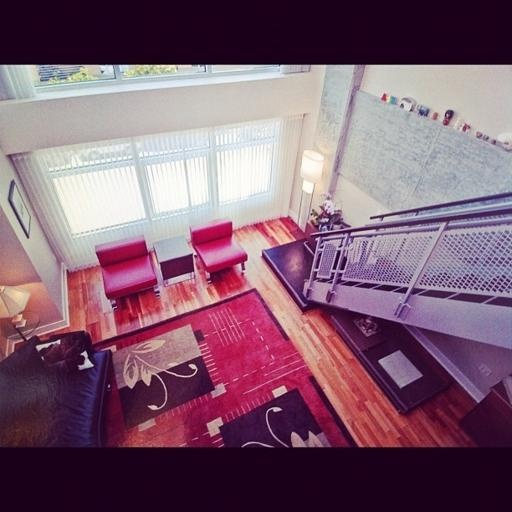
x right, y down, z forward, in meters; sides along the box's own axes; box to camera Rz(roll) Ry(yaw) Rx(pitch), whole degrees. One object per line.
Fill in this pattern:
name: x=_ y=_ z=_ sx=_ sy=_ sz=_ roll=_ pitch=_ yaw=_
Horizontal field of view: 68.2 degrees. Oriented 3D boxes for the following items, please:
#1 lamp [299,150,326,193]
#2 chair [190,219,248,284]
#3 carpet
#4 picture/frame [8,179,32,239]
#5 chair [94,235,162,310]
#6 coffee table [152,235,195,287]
lamp: x=0.958 y=-1.430 z=6.338 sx=0.407 sy=0.724 sz=0.429 roll=-23 pitch=49 yaw=-24
chair: x=-0.663 y=-0.024 z=6.591 sx=0.864 sy=0.837 sz=1.020 roll=-16 pitch=52 yaw=-19
carpet: x=-0.501 y=1.491 z=4.889 sx=2.747 sy=0.328 sz=2.104 roll=-2 pitch=33 yaw=0
picture/frame: x=-2.843 y=-0.564 z=4.511 sx=0.038 sy=0.430 sz=0.726 roll=-13 pitch=51 yaw=-14
chair: x=-2.033 y=0.284 z=6.016 sx=0.907 sy=0.847 sz=1.046 roll=-16 pitch=55 yaw=-17
coffee table: x=-1.302 y=0.068 z=6.136 sx=0.663 sy=0.643 sz=0.731 roll=-15 pitch=49 yaw=-17
